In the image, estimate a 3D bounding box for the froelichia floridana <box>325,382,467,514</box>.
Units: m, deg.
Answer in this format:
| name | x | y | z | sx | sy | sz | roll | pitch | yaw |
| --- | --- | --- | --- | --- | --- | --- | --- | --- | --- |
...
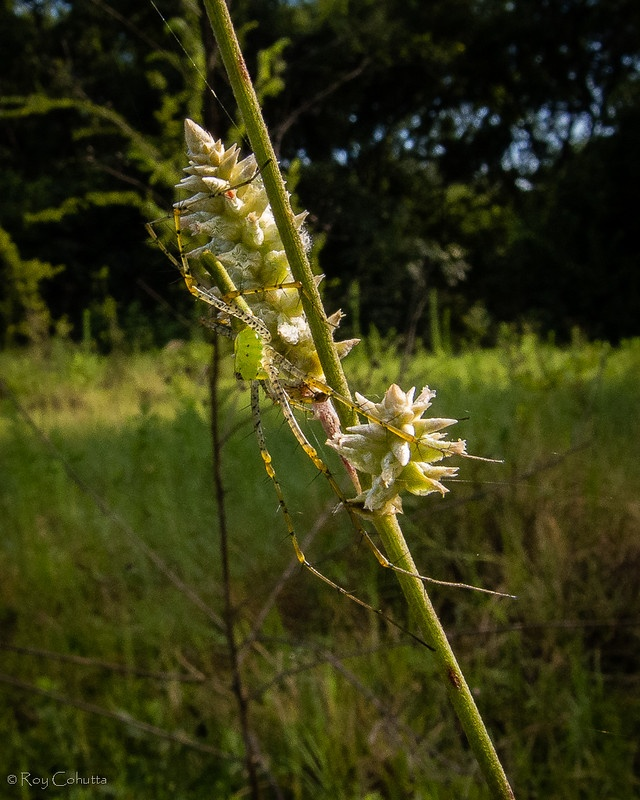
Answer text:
| name | x | y | z | sx | sy | sz | roll | pitch | yaw |
| --- | --- | --- | --- | --- | --- | --- | --- | --- | --- |
| froelichia floridana | 0.152 | 0.090 | 1.824 | 0.277 | 0.262 | 0.231 | 1 | 15 | -1 |
